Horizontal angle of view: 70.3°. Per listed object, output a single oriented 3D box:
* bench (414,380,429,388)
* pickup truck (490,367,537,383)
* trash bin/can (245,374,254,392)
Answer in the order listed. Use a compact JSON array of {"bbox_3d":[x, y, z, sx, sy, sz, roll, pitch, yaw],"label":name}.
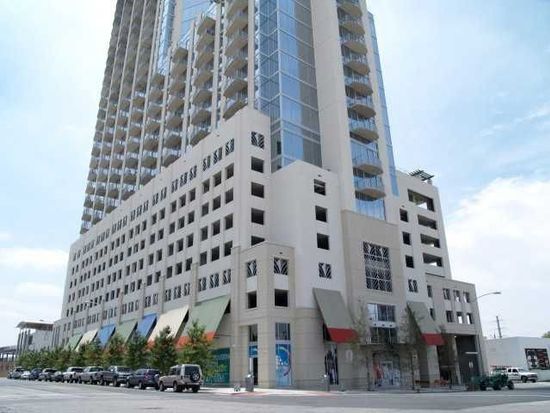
[{"bbox_3d":[18.464,22.352,49.246,1.652,0.951,4.205,-9,-28,15],"label":"bench"},{"bbox_3d":[39.315,27.029,62.836,3.884,2.279,2.197,-10,-28,16],"label":"pickup truck"},{"bbox_3d":[-2.486,16.916,37.406,0.677,1.389,0.607,-2,-26,3],"label":"trash bin/can"}]
